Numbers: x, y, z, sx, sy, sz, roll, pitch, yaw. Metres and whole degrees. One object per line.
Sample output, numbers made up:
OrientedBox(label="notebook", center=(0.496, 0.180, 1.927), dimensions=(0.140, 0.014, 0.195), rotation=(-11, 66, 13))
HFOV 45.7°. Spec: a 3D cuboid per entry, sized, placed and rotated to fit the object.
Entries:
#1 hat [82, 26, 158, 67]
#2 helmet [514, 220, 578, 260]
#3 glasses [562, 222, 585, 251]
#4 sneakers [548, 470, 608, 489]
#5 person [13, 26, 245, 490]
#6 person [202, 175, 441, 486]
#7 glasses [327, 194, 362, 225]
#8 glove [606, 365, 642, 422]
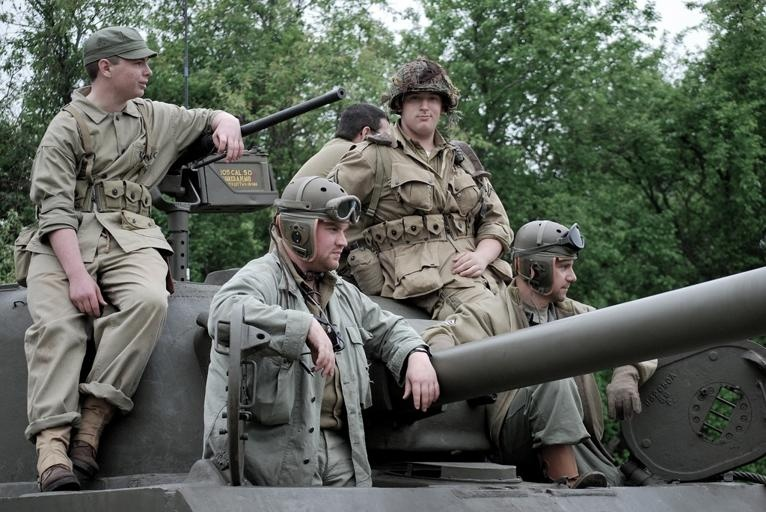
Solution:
OrientedBox(label="hat", center=(-1.760, -1.362, 5.995), dimensions=(0.457, 0.247, 0.340), rotation=(-6, 1, -3))
OrientedBox(label="helmet", center=(1.107, -0.136, 6.076), dimensions=(0.315, 0.174, 0.244), rotation=(-7, -12, 18))
OrientedBox(label="glasses", center=(1.287, -0.124, 6.012), dimensions=(0.099, 0.159, 0.185), rotation=(9, -23, -43))
OrientedBox(label="sneakers", center=(1.124, 1.280, 5.210), dimensions=(0.339, 0.104, 0.126), rotation=(-4, -8, -17))
OrientedBox(label="person", center=(-1.757, -0.112, 5.613), dimensions=(0.934, 2.734, 1.482), rotation=(3, 4, 19))
OrientedBox(label="person", center=(-0.357, 0.431, 5.061), dimensions=(1.278, 1.741, 0.894), rotation=(0, 4, -27))
OrientedBox(label="glasses", center=(-0.226, -0.268, 5.158), dimensions=(0.142, 0.090, 0.166), rotation=(12, -19, -43))
OrientedBox(label="glove", center=(1.570, 0.899, 5.945), dimensions=(0.206, 0.334, 0.364), rotation=(3, 4, 15))
